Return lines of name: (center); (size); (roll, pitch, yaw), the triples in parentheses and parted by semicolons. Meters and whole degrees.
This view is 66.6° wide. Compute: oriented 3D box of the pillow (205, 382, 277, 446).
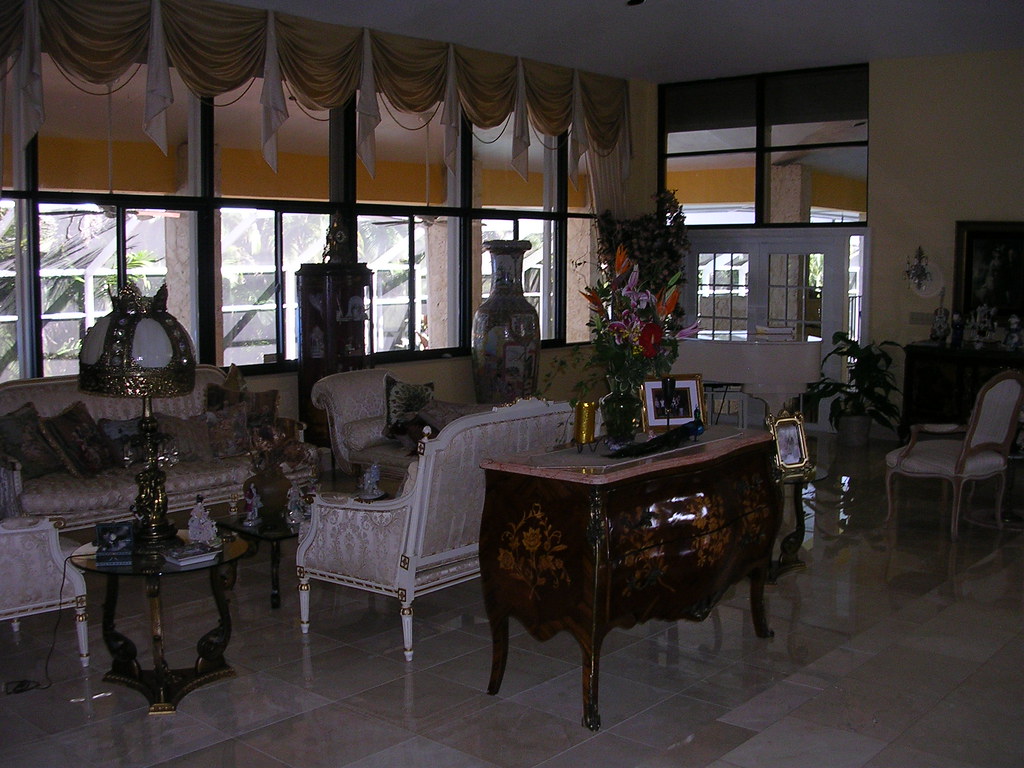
pillow: (-2.231, 0.184, 6.497); (0.572, 0.587, 0.177); (9, -13, -19)

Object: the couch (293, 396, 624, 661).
couch: (-0.231, 0.164, 4.741); (1.172, 1.912, 2.108); (6, 8, 32)

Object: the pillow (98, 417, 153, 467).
pillow: (-2.538, 0.389, 5.085); (0.092, 0.304, 0.295); (-29, -7, 28)

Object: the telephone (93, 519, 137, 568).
telephone: (-2.049, 0.813, 4.028); (0.224, 0.332, 0.184); (3, -10, -28)

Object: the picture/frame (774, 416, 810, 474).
picture/frame: (1.914, 0.424, 5.377); (0.358, 0.482, 0.063); (3, -16, -26)

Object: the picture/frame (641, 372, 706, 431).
picture/frame: (0.864, 0.104, 4.237); (0.296, 0.262, 0.030); (2, -9, -35)

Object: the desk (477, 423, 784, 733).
desk: (0.601, 0.422, 4.029); (1.106, 1.424, 1.896); (2, 6, 42)

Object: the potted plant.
potted plant: (4.470, 0.179, 10.146); (1.627, 1.967, 1.503); (2, 7, 17)

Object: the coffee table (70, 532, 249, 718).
coffee table: (-1.821, 1.273, 4.069); (0.806, 0.643, 0.737); (-2, 6, -33)

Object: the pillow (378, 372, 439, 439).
pillow: (-0.934, 0.196, 6.830); (0.536, 0.584, 0.203); (-2, -24, -30)

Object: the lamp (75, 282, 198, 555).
lamp: (-1.933, 0.175, 4.036); (0.553, 1.380, 0.333); (-2, 8, -13)
